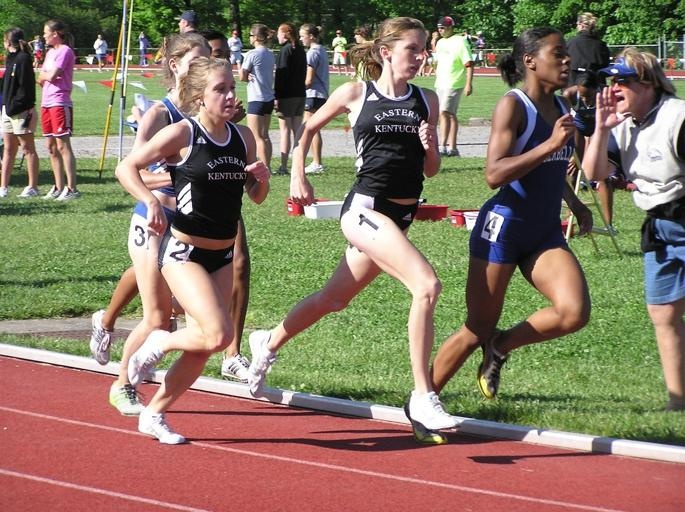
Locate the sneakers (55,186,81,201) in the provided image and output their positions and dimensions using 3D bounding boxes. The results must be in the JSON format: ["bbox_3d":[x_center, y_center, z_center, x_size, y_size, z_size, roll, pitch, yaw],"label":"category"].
[{"bbox_3d":[-4.743,-1.061,12.893,0.158,0.157,0.414,5,7,24],"label":"sneakers"}]

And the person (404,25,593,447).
[{"bbox_3d":[1.105,-0.196,4.784,0.971,2.449,0.782,3,17,16],"label":"person"}]

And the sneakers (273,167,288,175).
[{"bbox_3d":[-1.189,-1.680,14.768,0.149,0.137,0.354,-2,11,-25],"label":"sneakers"}]

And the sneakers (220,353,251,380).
[{"bbox_3d":[-0.783,0.823,5.607,0.339,0.135,0.133,10,19,31],"label":"sneakers"}]

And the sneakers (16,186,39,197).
[{"bbox_3d":[-5.520,-1.151,13.150,0.307,0.177,0.494,-6,15,-18],"label":"sneakers"}]

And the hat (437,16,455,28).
[{"bbox_3d":[2.185,-4.942,15.744,0.283,0.201,0.366,8,36,14],"label":"hat"}]

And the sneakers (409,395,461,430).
[{"bbox_3d":[0.501,0.901,4.409,0.362,0.151,0.141,15,16,41],"label":"sneakers"}]

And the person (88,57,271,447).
[{"bbox_3d":[-0.927,-0.020,4.560,0.837,2.302,0.768,3,17,16],"label":"person"}]

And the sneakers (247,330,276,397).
[{"bbox_3d":[-0.579,0.747,5.301,0.235,0.461,0.172,1,2,21],"label":"sneakers"}]

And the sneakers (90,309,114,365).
[{"bbox_3d":[-1.794,0.595,5.649,0.167,0.398,0.202,-12,18,-33],"label":"sneakers"}]

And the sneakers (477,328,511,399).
[{"bbox_3d":[1.034,0.705,5.033,0.185,0.465,0.224,1,-1,-38],"label":"sneakers"}]

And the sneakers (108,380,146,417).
[{"bbox_3d":[-1.434,0.966,5.055,0.357,0.137,0.135,20,5,43],"label":"sneakers"}]
